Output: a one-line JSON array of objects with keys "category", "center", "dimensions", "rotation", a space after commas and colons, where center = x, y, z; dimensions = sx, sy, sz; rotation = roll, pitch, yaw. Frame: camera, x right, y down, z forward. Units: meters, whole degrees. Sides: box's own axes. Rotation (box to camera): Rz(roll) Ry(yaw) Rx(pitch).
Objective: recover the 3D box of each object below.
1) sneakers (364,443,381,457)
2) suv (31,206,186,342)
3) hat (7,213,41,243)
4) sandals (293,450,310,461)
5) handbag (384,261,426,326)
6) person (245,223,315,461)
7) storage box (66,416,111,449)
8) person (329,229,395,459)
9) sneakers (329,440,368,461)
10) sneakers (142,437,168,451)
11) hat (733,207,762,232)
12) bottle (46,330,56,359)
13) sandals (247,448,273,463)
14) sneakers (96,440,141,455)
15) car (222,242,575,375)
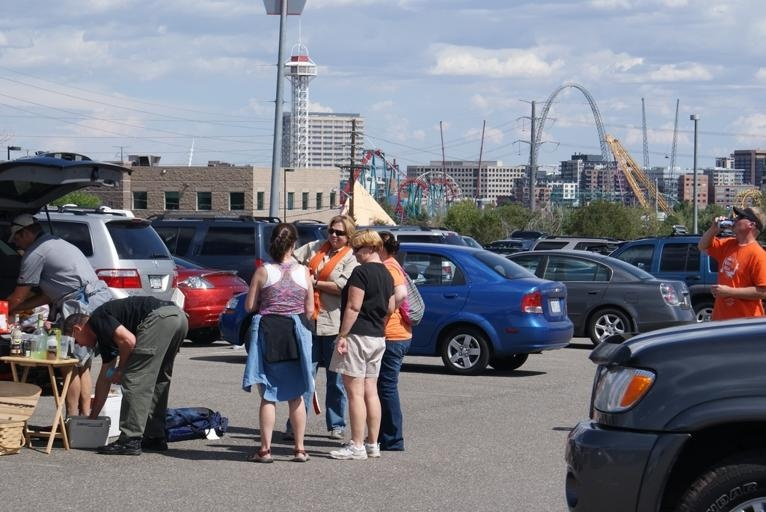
[{"category": "sneakers", "center": [-0.109, 2.065, 11.273], "dimensions": [0.088, 0.093, 0.210], "rotation": [-2, 5, -14]}, {"category": "suv", "center": [-5.160, 0.192, 17.762], "dimensions": [4.094, 1.878, 2.038], "rotation": [6, 7, 38]}, {"category": "hat", "center": [-4.369, -0.346, 12.919], "dimensions": [0.389, 0.214, 0.271], "rotation": [-21, 4, 24]}, {"category": "sandals", "center": [-0.862, 2.085, 11.130], "dimensions": [0.080, 0.087, 0.209], "rotation": [1, 4, 6]}, {"category": "handbag", "center": [0.082, 0.419, 12.025], "dimensions": [0.724, 0.646, 0.432], "rotation": [-7, -4, 16]}, {"category": "person", "center": [-1.092, 0.905, 11.186], "dimensions": [0.704, 2.447, 0.617], "rotation": [1, 6, -4]}, {"category": "storage box", "center": [-3.167, 1.941, 11.640], "dimensions": [0.594, 0.253, 0.566], "rotation": [7, -13, -32]}, {"category": "person", "center": [-0.214, 1.104, 11.257], "dimensions": [0.674, 2.054, 0.378], "rotation": [0, 7, -13]}, {"category": "sneakers", "center": [-0.356, 2.072, 11.271], "dimensions": [0.424, 0.193, 0.163], "rotation": [2, -4, 2]}, {"category": "sneakers", "center": [-2.467, 2.032, 11.512], "dimensions": [0.316, 0.134, 0.110], "rotation": [6, 0, 8]}, {"category": "hat", "center": [3.982, -0.410, 11.611], "dimensions": [0.318, 0.245, 0.231], "rotation": [3, 7, 17]}, {"category": "bottle", "center": [-3.599, 0.968, 11.596], "dimensions": [0.095, 0.257, 0.261], "rotation": [-1, 7, -18]}, {"category": "sandals", "center": [-1.283, 2.086, 11.098], "dimensions": [0.241, 0.108, 0.118], "rotation": [4, 3, 36]}, {"category": "sneakers", "center": [-2.820, 2.008, 11.318], "dimensions": [0.459, 0.204, 0.171], "rotation": [3, -2, 6]}, {"category": "car", "center": [0.308, 0.661, 16.470], "dimensions": [4.877, 1.600, 2.032], "rotation": [1, 2, 13]}]
